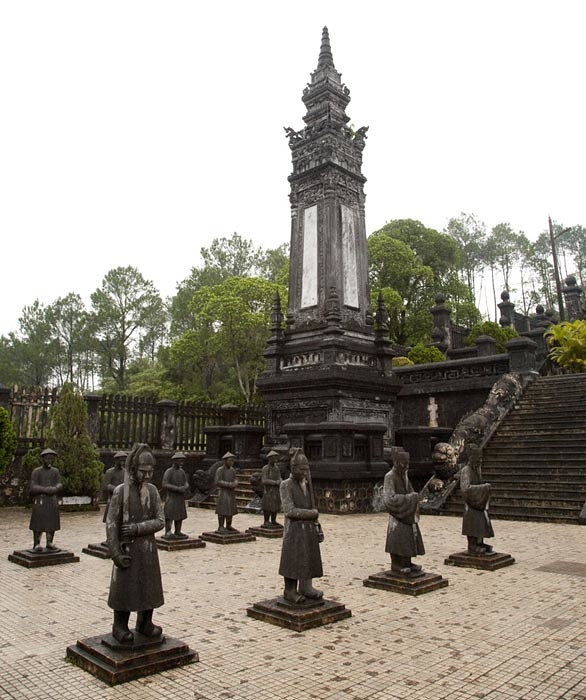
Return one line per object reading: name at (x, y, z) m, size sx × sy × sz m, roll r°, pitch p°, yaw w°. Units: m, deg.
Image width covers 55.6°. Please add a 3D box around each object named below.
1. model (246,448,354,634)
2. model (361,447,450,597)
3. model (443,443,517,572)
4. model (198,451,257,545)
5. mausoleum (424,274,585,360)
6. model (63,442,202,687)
model at (0.058, 1.620, 5.023) m, size 0.798 × 1.449 × 0.695 m, roll 7°, pitch -12°, yaw -37°
model at (1.197, 1.783, 6.023) m, size 0.679 × 1.439 × 0.713 m, roll -9°, pitch -13°, yaw 43°
model at (2.410, 1.981, 7.188) m, size 0.799 × 1.440 × 0.763 m, roll -1°, pitch -8°, yaw 27°
model at (-1.090, 2.422, 9.293) m, size 0.890 × 1.407 × 0.861 m, roll -5°, pitch -12°, yaw 23°
mausoleum at (9.960, -1.544, 27.040) m, size 5.356 × 3.343 × 9.059 m, roll 2°, pitch -7°, yaw -31°
model at (-1.134, 1.440, 4.022) m, size 0.833 × 1.513 × 0.672 m, roll 4°, pitch -10°, yaw -23°
